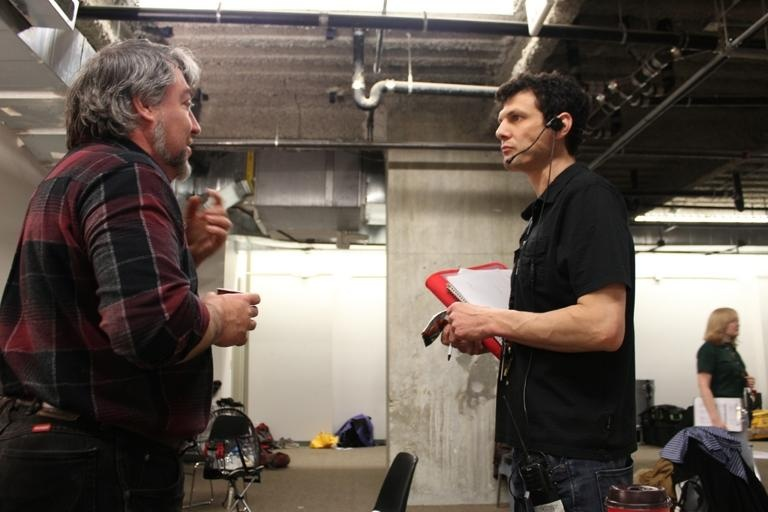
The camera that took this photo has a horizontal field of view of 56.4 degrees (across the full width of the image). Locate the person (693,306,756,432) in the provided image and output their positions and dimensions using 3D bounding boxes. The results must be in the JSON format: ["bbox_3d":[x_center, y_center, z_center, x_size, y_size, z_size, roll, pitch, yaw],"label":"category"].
[{"bbox_3d":[2.813,0.920,6.026,0.521,0.957,0.346,10,-12,-44],"label":"person"}]

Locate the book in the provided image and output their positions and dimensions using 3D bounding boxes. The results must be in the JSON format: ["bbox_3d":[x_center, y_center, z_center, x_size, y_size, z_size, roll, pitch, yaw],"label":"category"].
[{"bbox_3d":[0.464,0.198,4.041,0.577,0.147,0.553,11,18,-10],"label":"book"}]

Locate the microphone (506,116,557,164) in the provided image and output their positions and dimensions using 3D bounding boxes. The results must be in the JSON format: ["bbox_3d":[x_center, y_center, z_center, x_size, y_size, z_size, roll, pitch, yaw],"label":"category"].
[{"bbox_3d":[0.778,-0.600,3.741,0.326,0.073,0.036,-45,-1,13],"label":"microphone"}]

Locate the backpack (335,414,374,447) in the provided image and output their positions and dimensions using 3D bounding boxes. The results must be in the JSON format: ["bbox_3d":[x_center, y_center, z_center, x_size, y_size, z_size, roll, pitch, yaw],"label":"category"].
[{"bbox_3d":[-0.491,2.973,11.959,0.501,0.466,0.482,0,3,29],"label":"backpack"}]
